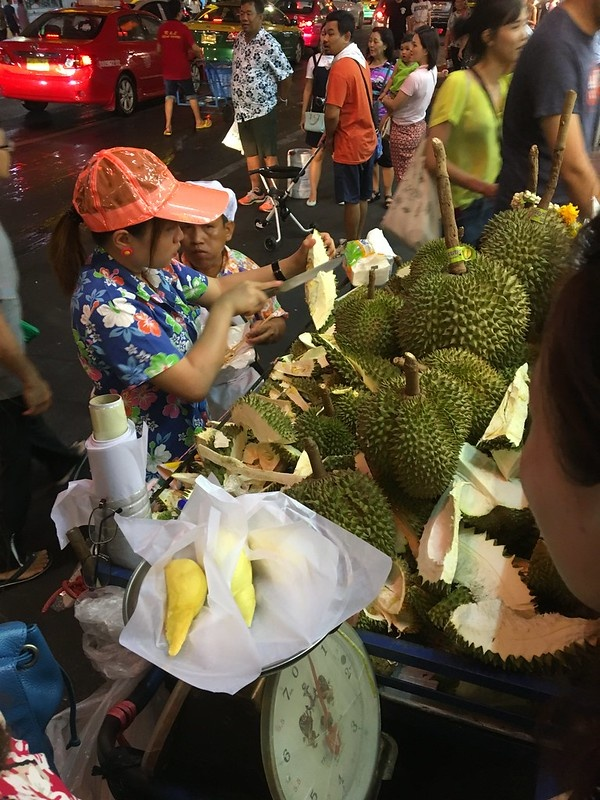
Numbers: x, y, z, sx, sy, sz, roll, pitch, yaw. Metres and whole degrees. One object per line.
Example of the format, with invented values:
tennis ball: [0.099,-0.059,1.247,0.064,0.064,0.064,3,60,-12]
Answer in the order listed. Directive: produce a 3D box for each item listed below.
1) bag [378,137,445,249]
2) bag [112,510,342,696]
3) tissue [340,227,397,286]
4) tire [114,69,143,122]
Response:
bag: [0.316,-0.532,1.616,0.151,0.214,0.247,14,50,10]
bag: [-0.066,0.237,0.775,0.258,0.094,0.264,14,50,10]
tissue: [0.217,-0.429,1.861,0.168,0.077,0.215,6,56,-8]
tire: [-2.776,-4.892,9.753,0.266,0.767,0.795,9,19,15]
